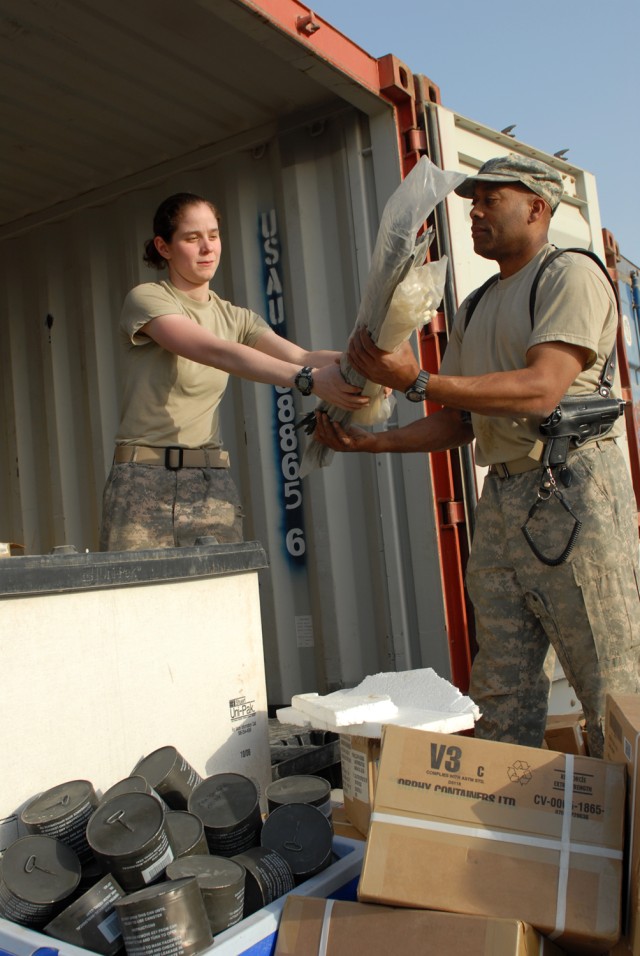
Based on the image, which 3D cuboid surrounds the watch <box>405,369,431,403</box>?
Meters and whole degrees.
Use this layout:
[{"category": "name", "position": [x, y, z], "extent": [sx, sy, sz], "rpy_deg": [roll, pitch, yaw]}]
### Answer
[{"category": "watch", "position": [0.256, -0.235, 2.242], "extent": [0.058, 0.075, 0.086], "rpy_deg": [29, 23, 2]}]

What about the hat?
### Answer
[{"category": "hat", "position": [0.540, -0.853, 2.470], "extent": [0.269, 0.086, 0.181], "rpy_deg": [9, -6, -7]}]

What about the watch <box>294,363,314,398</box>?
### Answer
[{"category": "watch", "position": [-0.036, -0.284, 2.512], "extent": [0.056, 0.080, 0.079], "rpy_deg": [4, -2, 6]}]

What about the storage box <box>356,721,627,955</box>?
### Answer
[{"category": "storage box", "position": [0.298, 0.639, 1.536], "extent": [0.533, 0.269, 0.340], "rpy_deg": [8, -25, 10]}]

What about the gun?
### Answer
[{"category": "gun", "position": [0.688, -0.124, 2.282], "extent": [0.250, 0.208, 0.113], "rpy_deg": [-4, -1, -30]}]
